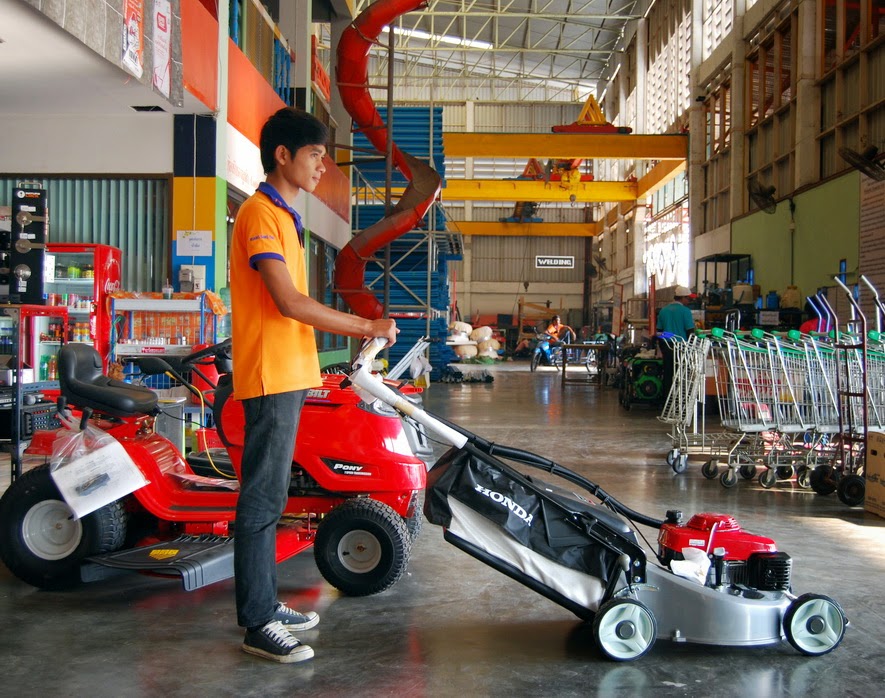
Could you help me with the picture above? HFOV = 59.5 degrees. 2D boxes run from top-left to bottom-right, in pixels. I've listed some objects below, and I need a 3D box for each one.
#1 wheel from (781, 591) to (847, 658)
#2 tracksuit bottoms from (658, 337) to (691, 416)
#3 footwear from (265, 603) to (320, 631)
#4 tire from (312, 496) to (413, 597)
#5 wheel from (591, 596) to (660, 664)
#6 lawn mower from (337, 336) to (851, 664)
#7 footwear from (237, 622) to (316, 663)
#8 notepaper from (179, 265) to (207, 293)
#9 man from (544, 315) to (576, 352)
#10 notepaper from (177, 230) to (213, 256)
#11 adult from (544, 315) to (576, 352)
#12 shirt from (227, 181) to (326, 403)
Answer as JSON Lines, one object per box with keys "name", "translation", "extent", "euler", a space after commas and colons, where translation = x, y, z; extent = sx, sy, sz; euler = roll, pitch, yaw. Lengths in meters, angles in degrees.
{"name": "wheel", "translation": [1.490, 1.122, 3.106], "extent": [0.191, 0.191, 0.074], "euler": [-31, 3, -7]}
{"name": "tracksuit bottoms", "translation": [2.659, 0.301, 8.836], "extent": [0.159, 1.126, 0.578], "euler": [2, 3, 12]}
{"name": "footwear", "translation": [-0.615, 1.124, 3.251], "extent": [0.248, 0.097, 0.086], "euler": [1, 2, -12]}
{"name": "tire", "translation": [-0.376, 0.939, 3.652], "extent": [0.340, 0.340, 0.140], "euler": [31, 3, 4]}
{"name": "wheel", "translation": [0.722, 1.103, 3.038], "extent": [0.189, 0.189, 0.073], "euler": [47, -11, -7]}
{"name": "lawn mower", "translation": [0.694, 0.758, 3.818], "extent": [2.573, 1.579, 0.940], "euler": [-1, -1, -2]}
{"name": "footwear", "translation": [-0.670, 1.149, 3.100], "extent": [0.313, 0.132, 0.117], "euler": [3, 3, 22]}
{"name": "notepaper", "translation": [-2.524, -0.737, 7.816], "extent": [0.261, 0.265, 0.230], "euler": [0, 2, -19]}
{"name": "man", "translation": [3.837, -0.529, 25.471], "extent": [0.796, 1.384, 1.056], "euler": [8, 27, 21]}
{"name": "notepaper", "translation": [-2.515, -1.092, 7.896], "extent": [0.267, 0.191, 0.032], "euler": [-1, -3, 2]}
{"name": "adult", "translation": [3.837, -0.529, 25.471], "extent": [0.796, 1.384, 1.056], "euler": [8, 27, 21]}
{"name": "shirt", "translation": [-0.643, -0.228, 3.013], "extent": [0.350, 0.844, 0.333], "euler": [0, 2, -16]}
